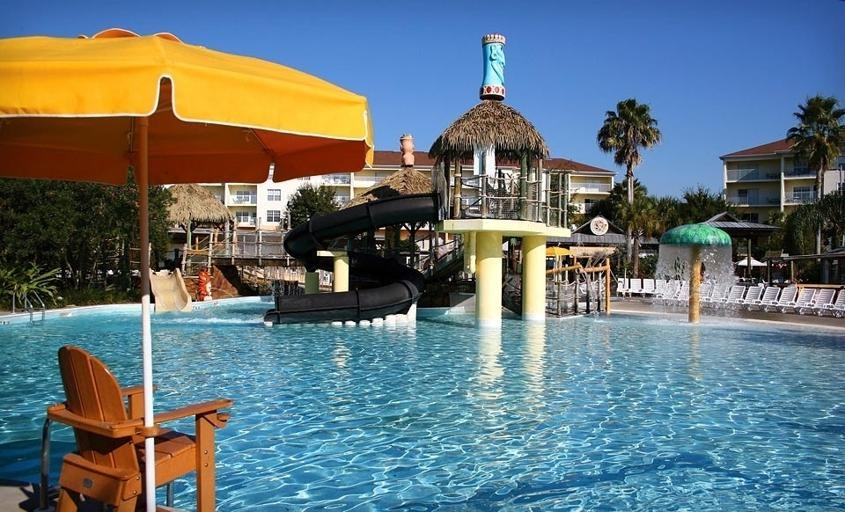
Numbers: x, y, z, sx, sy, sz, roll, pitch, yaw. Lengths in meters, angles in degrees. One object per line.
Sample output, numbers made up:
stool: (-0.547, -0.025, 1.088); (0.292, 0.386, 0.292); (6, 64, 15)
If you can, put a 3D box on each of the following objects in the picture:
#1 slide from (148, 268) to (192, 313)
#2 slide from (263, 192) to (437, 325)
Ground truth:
slide: (-9.966, 0.930, 25.747); (1.407, 0.533, 2.602); (13, -1, -25)
slide: (-2.097, 0.269, 21.952); (5.101, 4.627, 5.755); (-3, -9, 21)
